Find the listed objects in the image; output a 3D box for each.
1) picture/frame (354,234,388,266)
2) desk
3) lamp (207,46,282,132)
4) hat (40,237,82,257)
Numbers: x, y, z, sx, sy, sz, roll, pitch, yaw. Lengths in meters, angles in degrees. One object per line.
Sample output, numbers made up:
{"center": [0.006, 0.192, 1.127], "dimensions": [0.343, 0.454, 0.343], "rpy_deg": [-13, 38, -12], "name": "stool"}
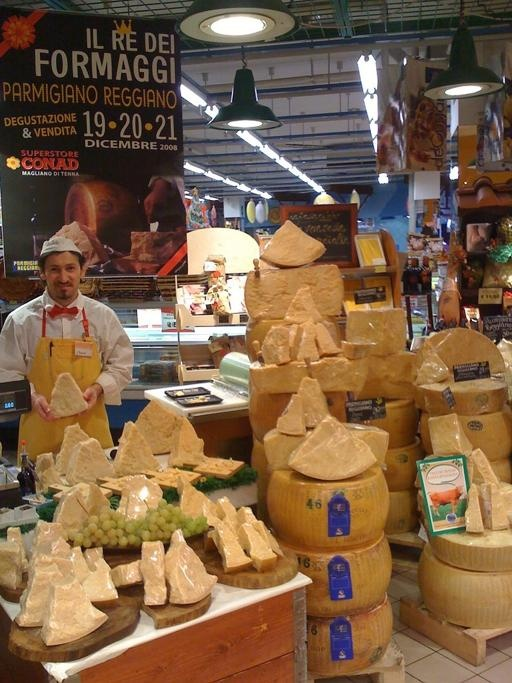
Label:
{"center": [0.950, -0.753, 4.334], "dimensions": [0.243, 0.321, 0.108], "rpy_deg": [-6, -21, -12], "name": "picture/frame"}
{"center": [-0.318, 0.421, 2.950], "dimensions": [0.489, 0.444, 0.467], "rpy_deg": [-5, 12, -31], "name": "desk"}
{"center": [-0.117, -2.202, 4.675], "dimensions": [0.666, 0.568, 0.625], "rpy_deg": [-3, 12, -12], "name": "lamp"}
{"center": [-1.124, -0.543, 3.004], "dimensions": [0.175, 0.086, 0.173], "rpy_deg": [-16, 20, -36], "name": "hat"}
